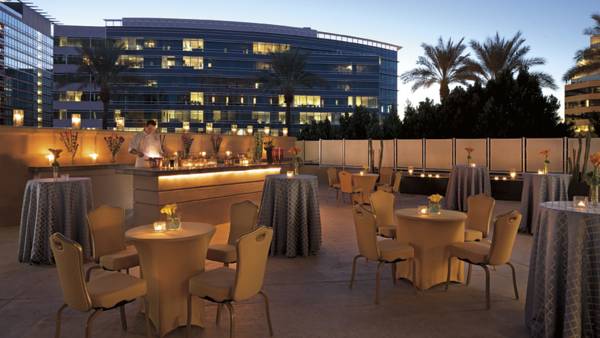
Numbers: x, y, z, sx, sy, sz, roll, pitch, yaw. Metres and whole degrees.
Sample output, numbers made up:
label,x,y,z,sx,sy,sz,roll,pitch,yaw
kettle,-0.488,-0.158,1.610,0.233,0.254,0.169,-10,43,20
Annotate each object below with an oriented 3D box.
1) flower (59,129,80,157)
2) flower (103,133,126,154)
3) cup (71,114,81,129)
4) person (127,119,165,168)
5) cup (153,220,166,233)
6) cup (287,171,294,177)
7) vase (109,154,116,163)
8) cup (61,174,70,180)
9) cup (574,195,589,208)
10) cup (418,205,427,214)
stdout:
label,x,y,z,sx,sy,sz,roll,pitch,yaw
flower,-7.782,-0.884,14.922,0.619,0.878,0.333,-3,4,-36
flower,-6.748,-0.929,16.150,0.669,0.684,0.681,2,0,-9
cup,-7.772,-1.672,15.297,0.224,0.483,0.269,-3,4,-38
person,-4.839,-0.822,13.883,0.972,1.404,0.705,-2,4,-22
cup,-3.116,1.275,9.792,0.236,0.168,0.231,0,-1,0
cup,-0.276,0.132,12.378,0.172,0.126,0.162,-1,0,0
vase,-6.761,-0.361,16.014,0.231,0.278,0.211,-3,4,-42
cup,-6.532,0.223,12.248,0.174,0.117,0.096,2,5,28
cup,6.181,0.706,9.671,0.261,0.224,0.262,-2,-1,0
cup,3.071,1.008,10.926,0.199,0.191,0.198,-1,-5,0
